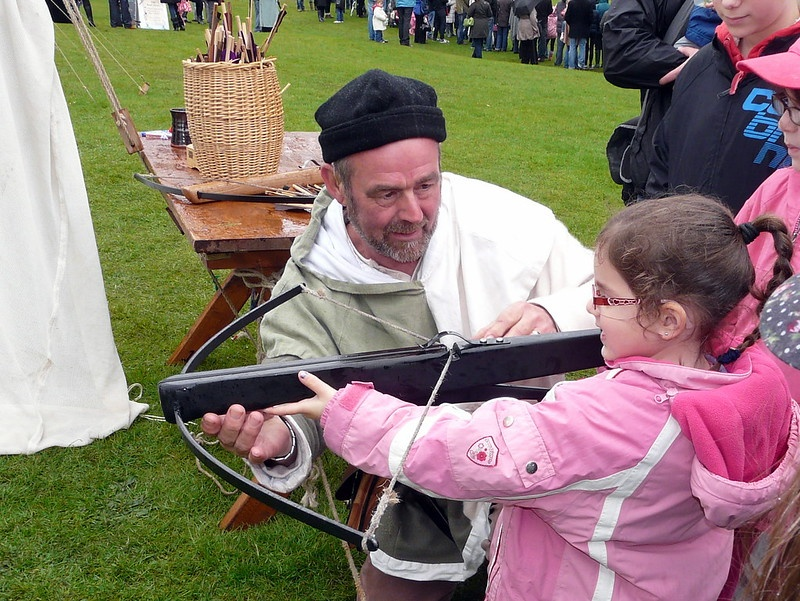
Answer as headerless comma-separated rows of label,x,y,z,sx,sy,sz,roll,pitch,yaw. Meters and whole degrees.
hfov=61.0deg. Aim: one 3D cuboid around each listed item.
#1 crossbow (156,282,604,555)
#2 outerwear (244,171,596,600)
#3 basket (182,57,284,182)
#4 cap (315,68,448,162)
crossbow,-0.091,0.272,2.200,0.994,0.214,0.960,-9,23,-13
outerwear,-0.110,0.253,3.135,1.485,1.474,0.841,-1,21,32
basket,-0.933,-1.149,4.305,0.731,0.780,0.548,-1,18,-5
cap,-0.101,-0.713,2.639,0.385,0.232,0.417,-8,27,15
